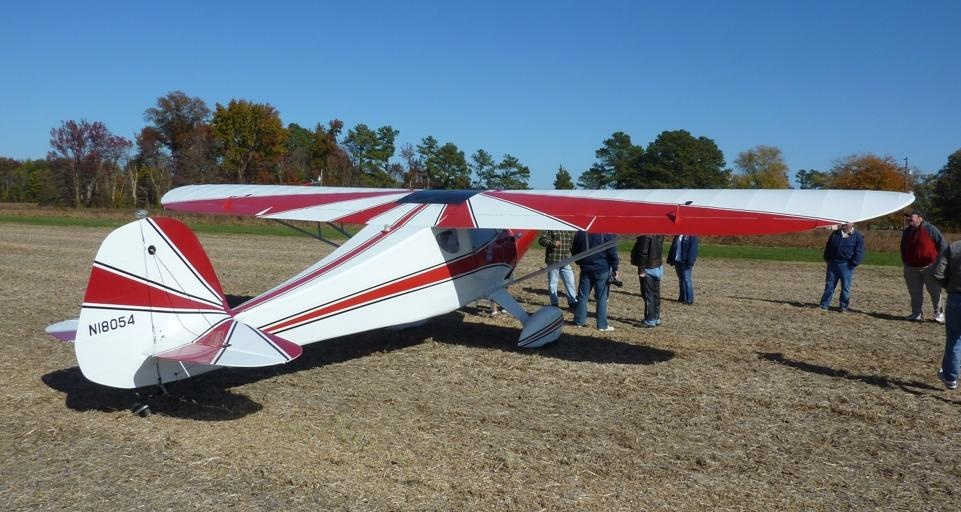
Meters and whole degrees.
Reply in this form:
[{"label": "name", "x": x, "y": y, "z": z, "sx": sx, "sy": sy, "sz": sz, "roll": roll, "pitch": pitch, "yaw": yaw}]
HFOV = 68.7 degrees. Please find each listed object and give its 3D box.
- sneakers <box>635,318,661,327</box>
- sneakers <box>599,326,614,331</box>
[{"label": "sneakers", "x": 4.101, "y": 1.638, "z": 17.321, "sx": 0.682, "sy": 0.222, "sz": 0.199, "roll": 2, "pitch": -8, "yaw": 0}, {"label": "sneakers", "x": 3.032, "y": 1.746, "z": 16.939, "sx": 0.369, "sy": 0.126, "sz": 0.131, "roll": -12, "pitch": 12, "yaw": -43}]
